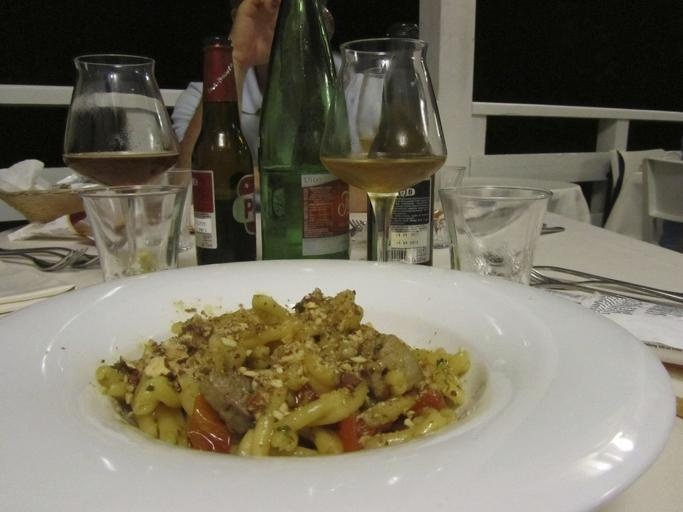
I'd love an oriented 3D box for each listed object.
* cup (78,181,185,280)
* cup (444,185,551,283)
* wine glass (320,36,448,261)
[{"bbox_3d":[-0.379,-0.062,1.001,0.161,0.157,0.173,-1,9,0],"label":"cup"},{"bbox_3d":[0.287,-0.067,1.035,0.172,0.208,0.182,-1,10,0],"label":"cup"},{"bbox_3d":[0.071,-0.166,0.888,0.208,0.356,0.102,-1,14,-2],"label":"wine glass"}]
